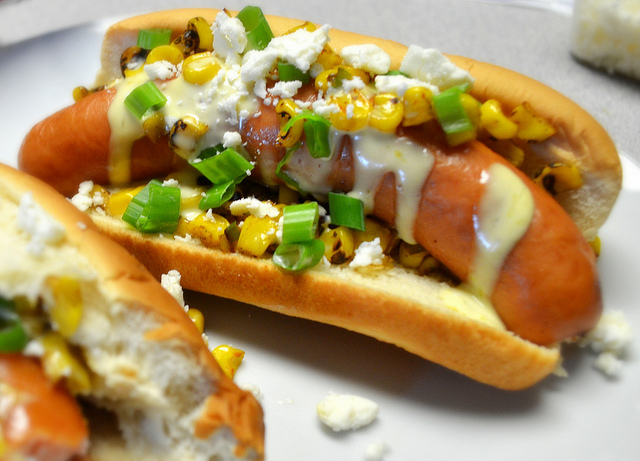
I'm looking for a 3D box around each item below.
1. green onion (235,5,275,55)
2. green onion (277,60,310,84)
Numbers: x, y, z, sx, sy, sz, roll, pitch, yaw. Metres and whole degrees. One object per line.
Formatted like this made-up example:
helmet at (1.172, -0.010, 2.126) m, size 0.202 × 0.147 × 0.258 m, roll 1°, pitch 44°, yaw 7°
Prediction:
green onion at (-0.276, -0.841, 2.753) m, size 0.094 × 0.228 × 0.117 m, roll -22°, pitch 36°, yaw -38°
green onion at (-0.113, -0.623, 2.619) m, size 0.090 × 0.071 × 0.098 m, roll 16°, pitch 35°, yaw 13°
